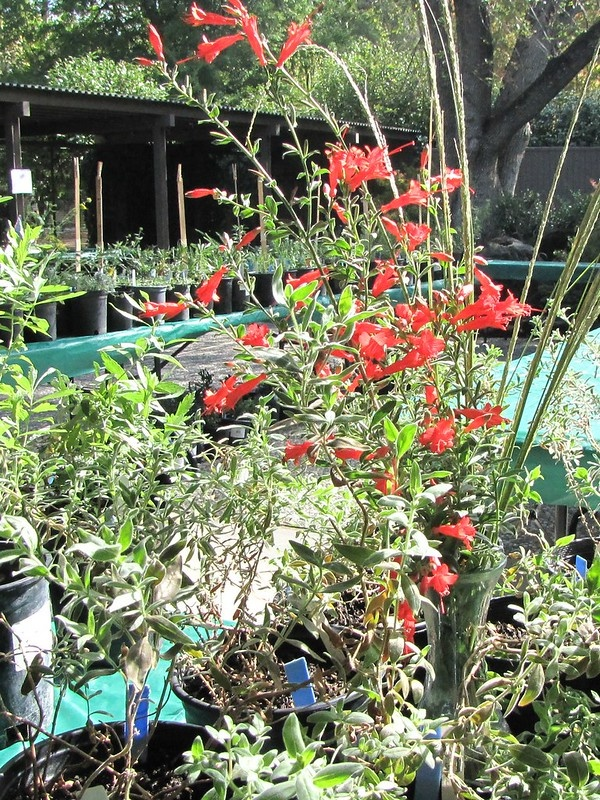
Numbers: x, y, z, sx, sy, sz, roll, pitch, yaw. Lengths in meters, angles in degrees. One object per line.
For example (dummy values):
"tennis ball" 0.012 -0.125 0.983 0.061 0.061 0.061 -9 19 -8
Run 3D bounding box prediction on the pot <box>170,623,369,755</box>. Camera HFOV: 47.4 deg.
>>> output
"pot" -0.041 0.351 0.889 0.252 0.166 0.244 1 7 0

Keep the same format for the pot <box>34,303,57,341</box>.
"pot" -0.993 -0.313 2.673 0.084 0.178 0.463 2 13 -19

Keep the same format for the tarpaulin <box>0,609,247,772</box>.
"tarpaulin" -0.261 0.428 0.993 0.271 0.103 0.313 8 20 44
